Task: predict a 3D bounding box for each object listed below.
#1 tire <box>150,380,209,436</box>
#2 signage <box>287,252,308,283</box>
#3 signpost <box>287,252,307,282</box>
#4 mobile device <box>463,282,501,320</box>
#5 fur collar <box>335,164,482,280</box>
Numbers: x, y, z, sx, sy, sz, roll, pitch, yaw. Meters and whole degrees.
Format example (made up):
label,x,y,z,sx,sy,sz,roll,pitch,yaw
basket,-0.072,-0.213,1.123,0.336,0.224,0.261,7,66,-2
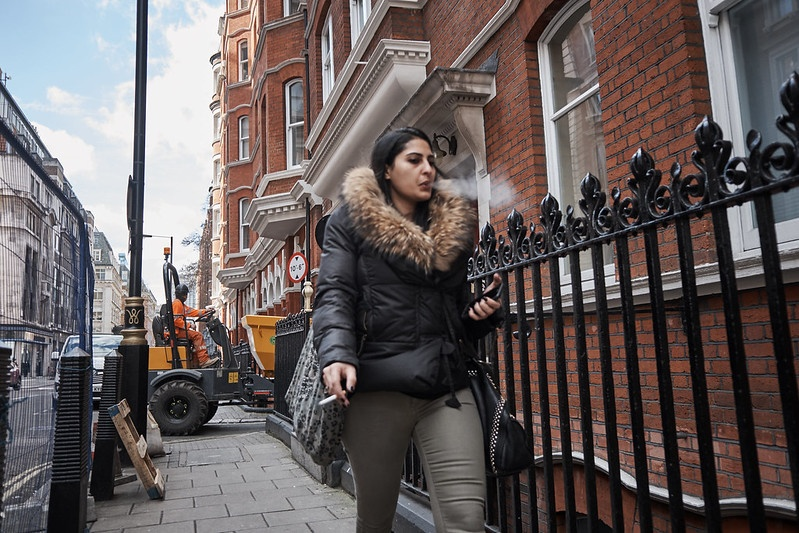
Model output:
label,x,y,z,sx,sy,sz,roll,pitch,yaw
tire,-4.299,2.825,11.422,1.051,1.210,0.394,0,-11,-4
signage,-2.523,0.039,14.735,0.887,1.004,0.121,-1,-2,35
signpost,-2.511,0.038,14.578,0.800,0.881,0.084,-7,-6,32
mobile device,0.498,0.207,3.418,0.213,0.162,0.087,-31,-48,9
fur collar,0.063,-0.182,3.281,0.670,0.607,0.237,8,-46,-33
